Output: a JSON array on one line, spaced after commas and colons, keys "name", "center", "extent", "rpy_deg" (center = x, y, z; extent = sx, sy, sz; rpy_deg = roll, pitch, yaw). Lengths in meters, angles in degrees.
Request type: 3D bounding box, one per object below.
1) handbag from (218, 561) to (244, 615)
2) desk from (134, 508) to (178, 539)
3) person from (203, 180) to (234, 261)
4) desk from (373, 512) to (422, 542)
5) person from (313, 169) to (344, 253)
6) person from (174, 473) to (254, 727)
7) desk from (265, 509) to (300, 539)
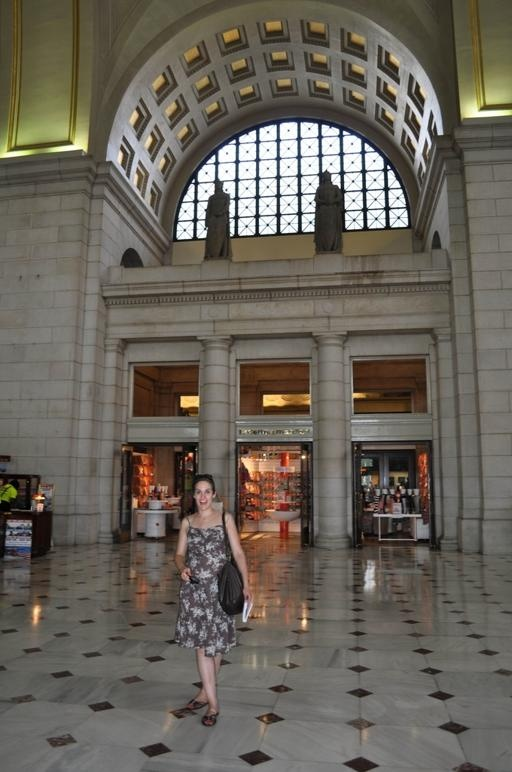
[{"name": "handbag", "center": [-0.115, 0.962, 2.684], "extent": [0.079, 0.209, 0.196], "rpy_deg": [-2, -23, 0]}, {"name": "desk", "center": [-2.689, 3.655, 15.013], "extent": [1.231, 0.945, 0.951], "rpy_deg": [1, -9, 1]}, {"name": "person", "center": [-0.921, -4.189, 14.375], "extent": [0.653, 2.320, 0.555], "rpy_deg": [-3, -18, 8]}, {"name": "desk", "center": [3.800, 3.767, 15.111], "extent": [1.193, 0.849, 1.625], "rpy_deg": [0, -11, 5]}, {"name": "person", "center": [1.781, -4.246, 13.841], "extent": [0.740, 2.306, 0.570], "rpy_deg": [0, -9, 9]}, {"name": "person", "center": [-0.229, 1.090, 2.931], "extent": [0.379, 1.240, 0.616], "rpy_deg": [1, -11, -6]}, {"name": "desk", "center": [0.707, 3.736, 15.456], "extent": [1.053, 0.690, 2.666], "rpy_deg": [0, -11, 2]}]
